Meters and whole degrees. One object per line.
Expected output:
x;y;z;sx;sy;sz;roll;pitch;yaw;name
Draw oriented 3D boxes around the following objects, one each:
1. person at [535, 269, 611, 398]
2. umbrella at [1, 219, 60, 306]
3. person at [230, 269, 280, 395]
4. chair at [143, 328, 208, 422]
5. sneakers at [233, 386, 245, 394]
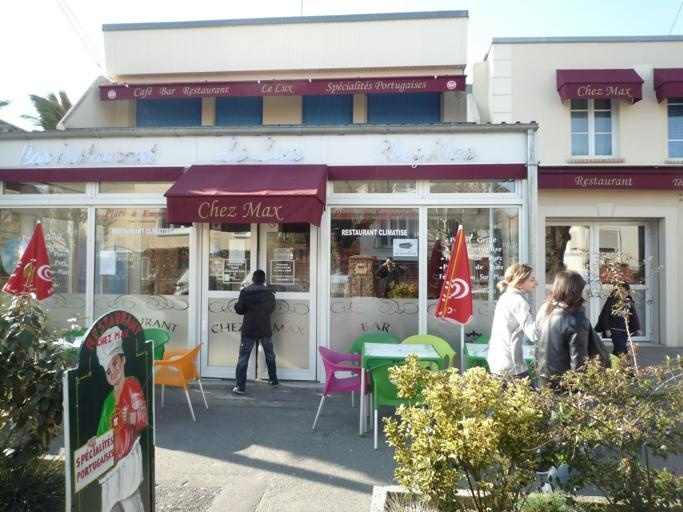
3.115;1.000;11.474;0.904;1.601;0.474;0;-3;13;person
-5.115;0.034;13.894;0.735;1.428;3.465;2;-3;-18;umbrella
-1.446;1.305;14.506;0.791;2.101;0.242;2;-3;-25;person
-2.604;1.910;13.790;1.224;1.697;1.305;3;-3;0;chair
-1.732;2.276;14.302;0.217;0.097;0.088;5;2;41;sneakers
